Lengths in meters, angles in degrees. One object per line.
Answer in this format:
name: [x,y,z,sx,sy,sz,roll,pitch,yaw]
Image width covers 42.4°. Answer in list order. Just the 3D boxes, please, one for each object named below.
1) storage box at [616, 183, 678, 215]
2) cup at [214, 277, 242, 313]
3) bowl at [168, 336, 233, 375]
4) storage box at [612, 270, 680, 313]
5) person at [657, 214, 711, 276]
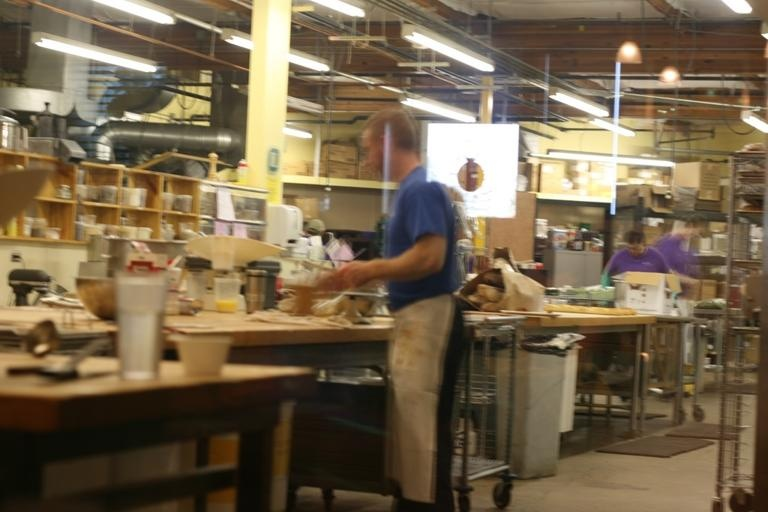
storage box: [3.741,-0.850,14.395,0.356,0.415,0.863,-2,6,-40]
cup: [-1.080,0.256,6.782,0.162,0.231,0.117,1,6,-13]
bowl: [-0.950,0.508,5.152,0.325,0.147,0.220,1,-6,-8]
storage box: [2.729,0.351,10.333,0.537,0.258,0.526,1,0,32]
person: [3.291,-0.120,11.223,0.657,0.661,0.298,1,-4,-9]
